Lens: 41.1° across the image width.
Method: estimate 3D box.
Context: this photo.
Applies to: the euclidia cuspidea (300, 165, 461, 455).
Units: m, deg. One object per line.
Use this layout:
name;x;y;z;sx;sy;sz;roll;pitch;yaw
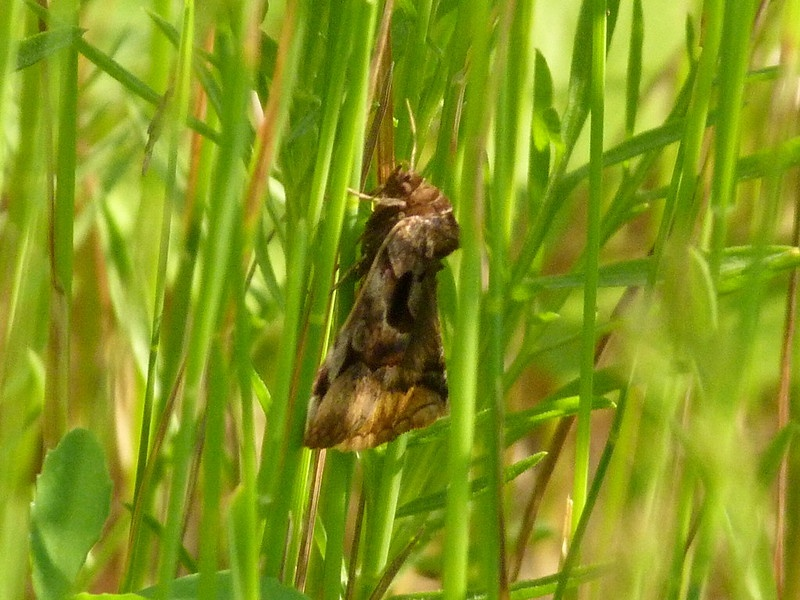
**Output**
euclidia cuspidea;-0.011;0.007;1.146;0.061;0.260;0.228;9;5;31
